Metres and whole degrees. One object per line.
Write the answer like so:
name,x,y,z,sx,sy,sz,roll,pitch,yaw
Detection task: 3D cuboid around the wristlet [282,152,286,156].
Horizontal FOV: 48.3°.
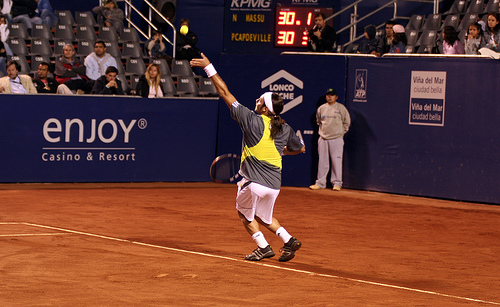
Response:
wristlet,0.612,-0.012,10.111,0.049,0.080,0.044,-1,-14,-5

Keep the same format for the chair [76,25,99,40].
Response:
chair,-5.828,-4.285,19.881,0.743,0.702,0.602,1,3,-32

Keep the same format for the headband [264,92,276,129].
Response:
headband,0.325,-0.851,9.619,0.198,0.411,0.190,-2,7,-22

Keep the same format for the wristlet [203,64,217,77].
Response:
wristlet,-0.687,-1.445,9.729,0.211,0.208,0.201,-9,-11,-2

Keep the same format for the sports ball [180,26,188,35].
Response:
sports ball,-2.463,-4.574,20.627,0.303,0.148,0.327,-1,28,1

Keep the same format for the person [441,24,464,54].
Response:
person,5.591,-3.143,15.337,0.562,0.792,0.471,3,7,20

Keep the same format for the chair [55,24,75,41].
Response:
chair,-6.450,-4.215,19.432,0.694,0.631,0.562,1,1,-25

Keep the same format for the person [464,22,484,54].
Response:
person,6.090,-3.139,15.166,0.471,0.835,0.618,3,6,21

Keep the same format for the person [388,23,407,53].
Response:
person,4.337,-3.408,16.452,0.500,0.888,0.777,2,6,13

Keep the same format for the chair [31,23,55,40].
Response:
chair,-7.057,-4.166,19.097,0.666,0.608,0.561,1,17,-4
